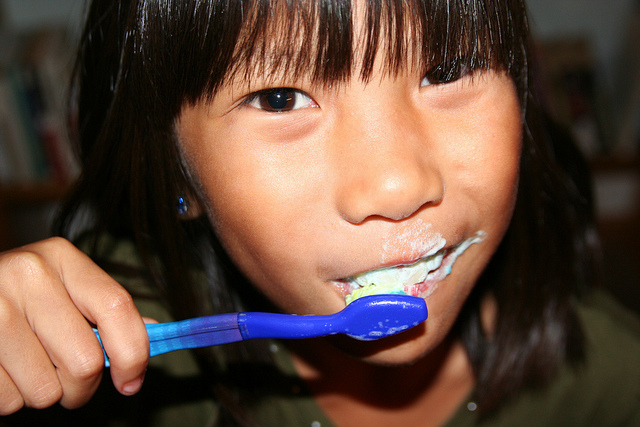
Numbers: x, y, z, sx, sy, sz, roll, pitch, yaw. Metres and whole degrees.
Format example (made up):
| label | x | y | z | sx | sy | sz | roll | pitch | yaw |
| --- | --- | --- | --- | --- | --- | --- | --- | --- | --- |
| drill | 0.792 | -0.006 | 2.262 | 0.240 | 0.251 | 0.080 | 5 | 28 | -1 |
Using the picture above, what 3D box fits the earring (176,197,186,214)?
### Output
| label | x | y | z | sx | sy | sz | roll | pitch | yaw |
| --- | --- | --- | --- | --- | --- | --- | --- | --- | --- |
| earring | -0.303 | -0.018 | 1.389 | 0.022 | 0.043 | 0.003 | 6 | 30 | 22 |
